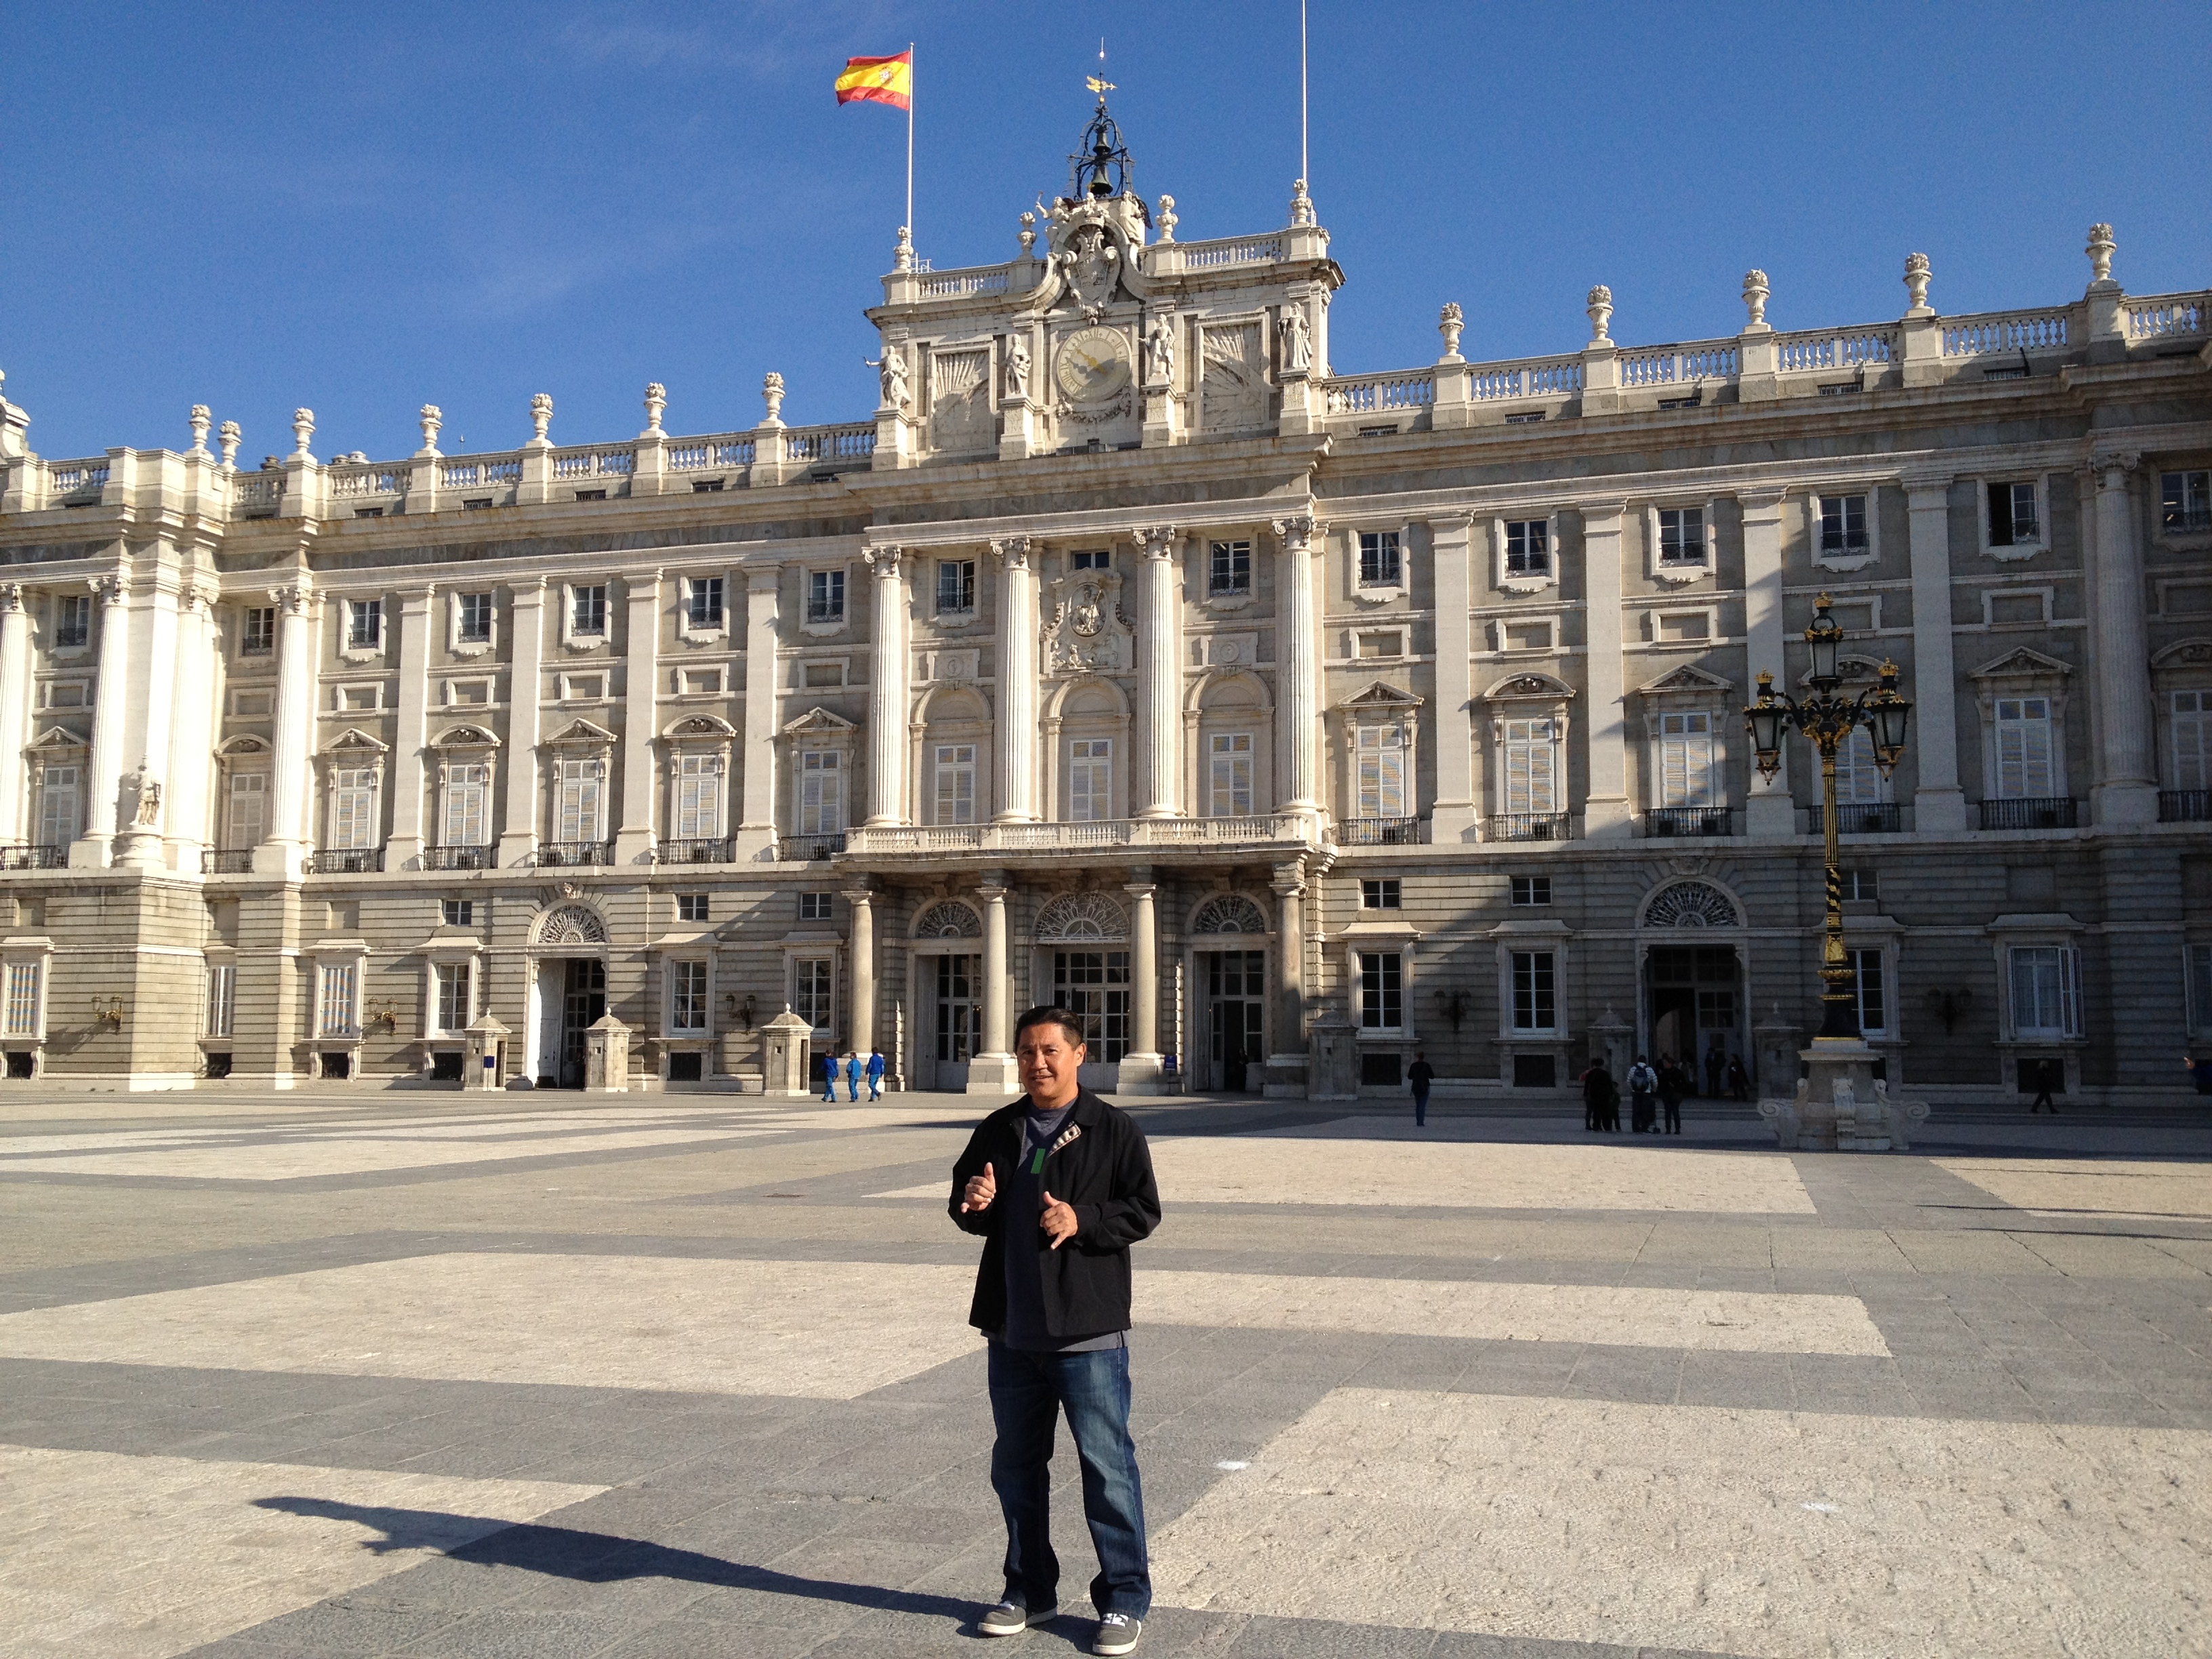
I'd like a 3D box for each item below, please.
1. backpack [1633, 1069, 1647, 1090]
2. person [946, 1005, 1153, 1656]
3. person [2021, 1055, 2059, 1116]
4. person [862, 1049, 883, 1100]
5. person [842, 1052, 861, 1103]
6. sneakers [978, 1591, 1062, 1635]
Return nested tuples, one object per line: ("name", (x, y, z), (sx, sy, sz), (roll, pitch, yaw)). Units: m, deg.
("backpack", (9.385, 4.305, 38.260), (0.347, 0.437, 0.255), (-1, -12, 12))
("person", (-0.230, 2.462, 11.130), (1.005, 3.148, 0.655), (-1, -7, 1))
("person", (19.844, 5.365, 46.224), (0.985, 1.254, 0.705), (-4, -15, 22))
("person", (-5.426, 5.646, 50.850), (0.352, 1.046, 1.323), (0, -7, -13))
("person", (-5.978, 5.719, 51.269), (0.408, 1.005, 1.418), (-1, -6, -7))
("sneakers", (-0.429, 3.916, 10.934), (0.144, 0.152, 0.408), (-21, -34, 36))
